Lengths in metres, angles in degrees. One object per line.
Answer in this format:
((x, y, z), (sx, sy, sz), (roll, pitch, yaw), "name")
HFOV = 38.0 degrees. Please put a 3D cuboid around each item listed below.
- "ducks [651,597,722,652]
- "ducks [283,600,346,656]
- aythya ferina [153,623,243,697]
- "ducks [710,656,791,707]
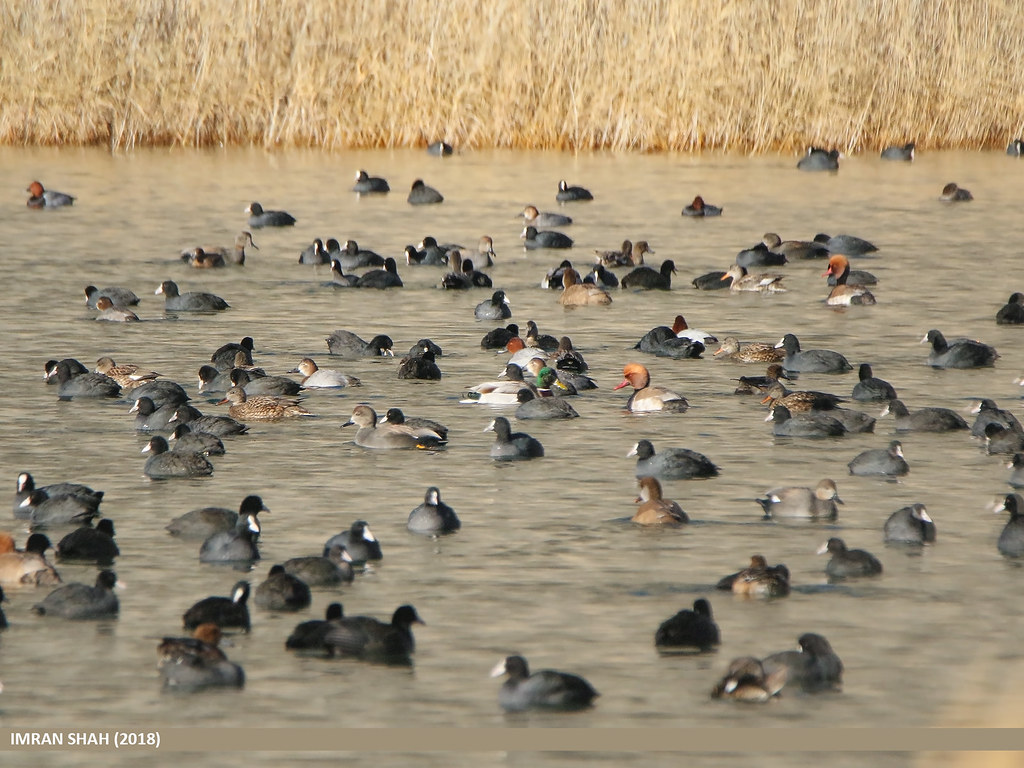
((2.131, 2.872, 17.327), (0.773, 0.549, 0.381), (-3, 84, 40), "\"ducks")
((-2.285, 2.876, 17.190), (0.820, 0.465, 0.487), (2, 73, 15), "\"ducks")
((-3.422, 3.106, 16.372), (0.640, 1.005, 0.517), (2, 85, 28), "aythya ferina")
((2.604, 3.220, 16.160), (0.856, 0.321, 0.443), (-10, 24, -29), "\"ducks")
